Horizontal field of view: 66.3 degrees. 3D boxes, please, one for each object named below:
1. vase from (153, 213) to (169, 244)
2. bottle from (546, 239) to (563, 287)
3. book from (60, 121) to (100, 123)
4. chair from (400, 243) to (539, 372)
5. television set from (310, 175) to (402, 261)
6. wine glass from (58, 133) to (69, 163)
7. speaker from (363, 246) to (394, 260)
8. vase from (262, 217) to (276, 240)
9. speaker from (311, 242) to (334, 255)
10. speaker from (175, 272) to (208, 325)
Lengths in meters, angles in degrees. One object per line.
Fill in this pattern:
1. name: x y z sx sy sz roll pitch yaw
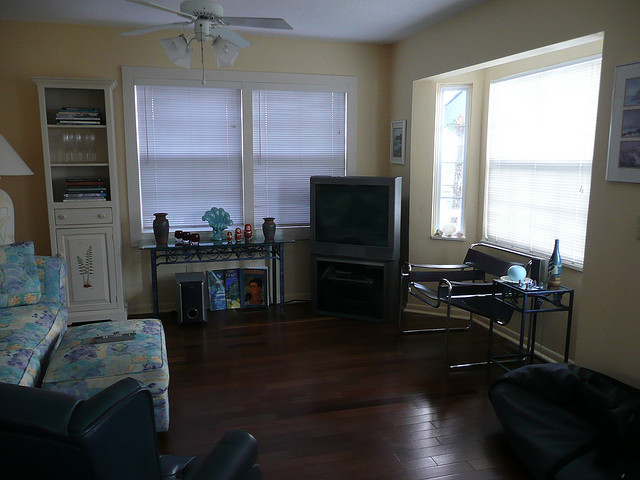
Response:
1. vase: -1.677 -0.126 5.180 0.159 0.310 0.181 -4 9 -17
2. bottle: 1.941 0.180 4.026 0.089 0.372 0.216 5 11 37
3. book: -2.426 -1.182 4.908 0.327 0.015 0.053 -2 8 -6
4. chair: 1.410 0.526 4.741 1.129 0.921 0.959 -4 7 -27
5. television set: 0.533 -0.205 5.502 1.200 1.006 0.673 5 4 44
6. wine glass: -2.617 -0.947 5.015 0.086 0.292 0.131 -8 11 -39
7. speaker: 0.610 0.132 5.161 0.263 0.113 0.141 3 5 31
8. vase: -0.584 -0.136 5.563 0.135 0.236 0.227 -2 9 -7
9. speaker: 0.025 0.085 5.397 0.193 0.092 0.137 3 2 41
10. speaker: -1.373 0.617 5.210 0.297 0.507 0.285 -4 9 -17
